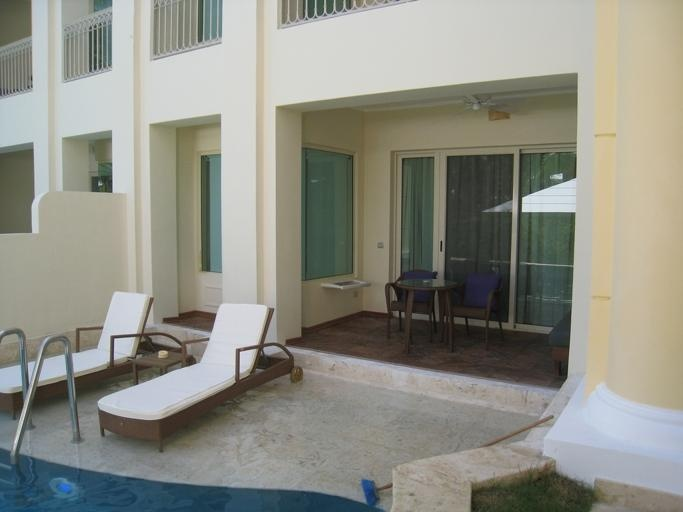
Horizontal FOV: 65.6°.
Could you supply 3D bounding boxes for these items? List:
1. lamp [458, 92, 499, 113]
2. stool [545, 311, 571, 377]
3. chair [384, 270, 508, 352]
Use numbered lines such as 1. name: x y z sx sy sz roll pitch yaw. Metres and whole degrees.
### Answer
1. lamp: 2.065 -2.295 7.896 0.523 0.189 1.141 2 12 13
2. stool: 2.736 1.126 6.678 0.209 0.325 0.665 1 15 20
3. chair: 1.686 0.811 8.157 1.952 1.060 1.683 -1 12 -4
